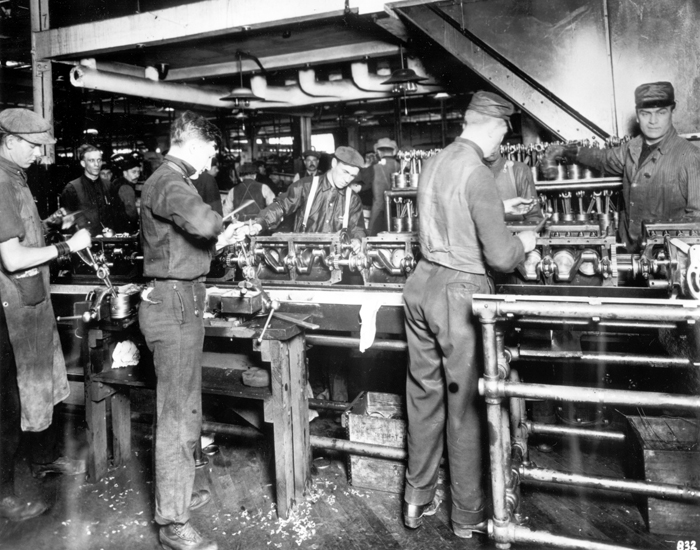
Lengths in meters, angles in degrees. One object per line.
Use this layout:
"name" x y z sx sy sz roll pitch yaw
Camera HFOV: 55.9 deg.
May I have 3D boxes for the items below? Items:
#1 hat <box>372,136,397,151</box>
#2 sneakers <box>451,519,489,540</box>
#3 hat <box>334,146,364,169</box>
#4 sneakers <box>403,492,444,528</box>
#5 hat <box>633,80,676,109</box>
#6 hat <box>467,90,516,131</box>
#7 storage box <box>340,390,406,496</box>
"hat" 0.413 -1.493 7.592 0.300 0.142 0.375 -4 17 14
"sneakers" 0.701 1.492 3.954 0.240 0.112 0.142 -8 -4 3
"hat" -0.012 -0.961 5.349 0.181 0.064 0.197 -17 56 -37
"sneakers" 0.437 1.439 4.115 0.109 0.132 0.276 0 12 29
"hat" 2.328 -1.365 5.024 0.219 0.142 0.335 3 22 29
"hat" 0.833 -0.971 3.873 0.228 0.138 0.182 19 12 9
"storage box" 0.178 0.947 4.550 0.417 0.597 0.803 2 9 7
